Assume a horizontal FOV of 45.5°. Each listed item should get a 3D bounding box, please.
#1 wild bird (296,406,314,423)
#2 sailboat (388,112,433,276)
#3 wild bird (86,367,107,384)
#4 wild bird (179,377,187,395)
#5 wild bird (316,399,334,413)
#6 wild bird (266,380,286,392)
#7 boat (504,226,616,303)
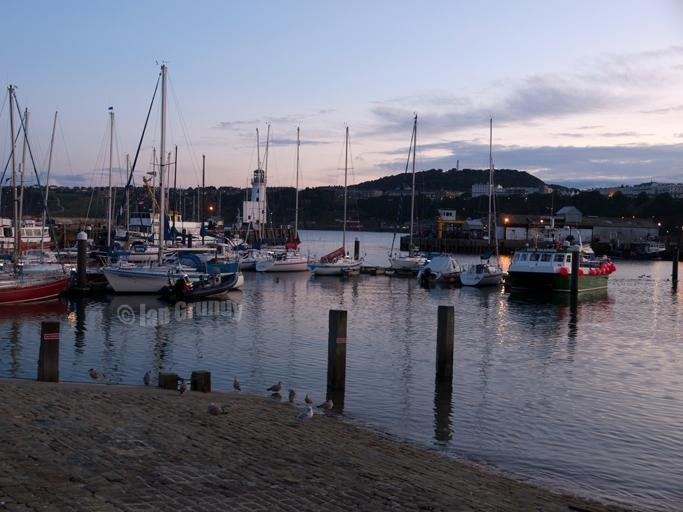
[{"bbox_3d":[-1.058,4.585,23.709,0.521,0.359,0.284,7,-1,4],"label":"wild bird"},{"bbox_3d":[12.142,-6.103,145.125,5.663,30.444,5.552,-2,8,-28],"label":"sailboat"},{"bbox_3d":[-8.189,3.927,27.210,0.355,0.601,1.038,5,12,-26],"label":"wild bird"},{"bbox_3d":[-4.846,3.980,24.739,0.200,0.573,0.265,-8,-11,31],"label":"wild bird"},{"bbox_3d":[-0.522,4.571,24.851,0.493,0.338,0.275,11,2,17],"label":"wild bird"},{"bbox_3d":[-2.174,4.254,26.236,0.463,0.281,0.241,3,7,17],"label":"wild bird"},{"bbox_3d":[16.236,0.580,58.639,4.583,3.389,9.175,-1,-3,32],"label":"boat"}]
